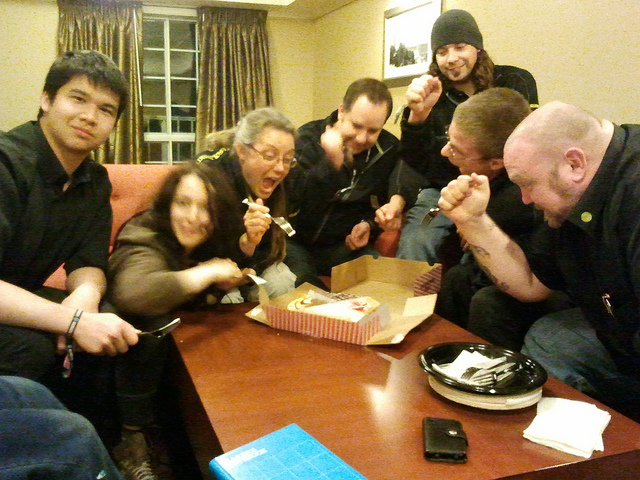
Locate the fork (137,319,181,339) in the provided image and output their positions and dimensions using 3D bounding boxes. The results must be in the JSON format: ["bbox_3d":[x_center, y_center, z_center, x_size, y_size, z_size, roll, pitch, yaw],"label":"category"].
[{"bbox_3d":[-0.287,0.156,0.933,0.079,0.018,0.056,1,-3,-16],"label":"fork"}]

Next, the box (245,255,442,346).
[{"bbox_3d":[0.099,0.121,1.098,0.275,0.136,0.279,8,15,31],"label":"box"}]

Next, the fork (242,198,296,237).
[{"bbox_3d":[-0.111,-0.047,1.083,0.165,0.025,0.022,30,3,22],"label":"fork"}]

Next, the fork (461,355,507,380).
[{"bbox_3d":[0.283,0.219,0.892,0.119,0.022,0.022,-12,51,-9],"label":"fork"}]

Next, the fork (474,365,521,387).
[{"bbox_3d":[0.289,0.228,0.868,0.089,0.017,0.016,-8,49,-17],"label":"fork"}]
